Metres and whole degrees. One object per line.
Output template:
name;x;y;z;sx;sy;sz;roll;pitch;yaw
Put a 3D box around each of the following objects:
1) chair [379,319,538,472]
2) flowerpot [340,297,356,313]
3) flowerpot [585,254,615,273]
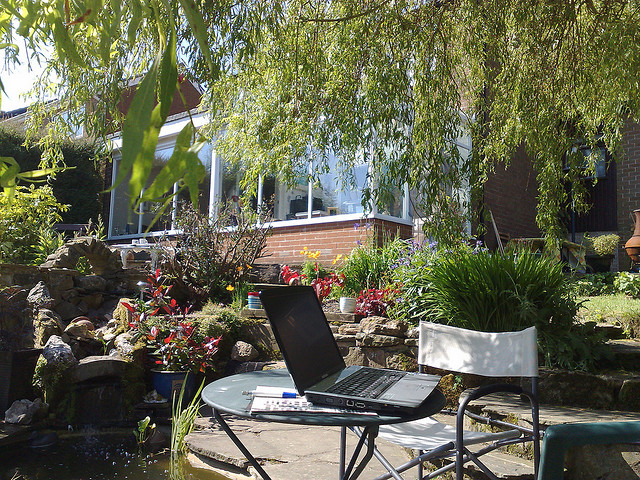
chair;0.920;0.839;3.520;0.862;1.548;0.896;-1;-4;28
flowerpot;0.296;0.733;6.180;0.137;0.129;0.152;-2;-7;26
flowerpot;5.123;0.421;10.067;0.336;0.307;0.384;0;-6;4
